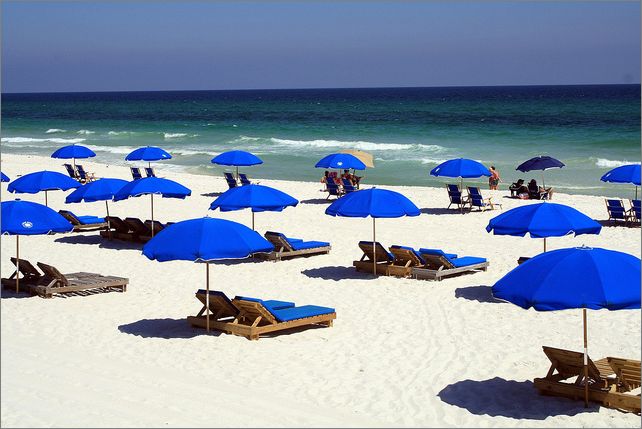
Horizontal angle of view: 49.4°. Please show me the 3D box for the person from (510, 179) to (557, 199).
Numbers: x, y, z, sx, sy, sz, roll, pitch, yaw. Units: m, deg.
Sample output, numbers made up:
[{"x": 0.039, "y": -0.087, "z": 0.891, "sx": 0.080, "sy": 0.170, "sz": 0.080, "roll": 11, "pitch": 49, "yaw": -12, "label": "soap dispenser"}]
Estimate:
[{"x": 7.727, "y": -0.893, "z": 25.832, "sx": 0.979, "sy": 0.468, "sz": 1.225, "roll": 2, "pitch": 4, "yaw": -5, "label": "person"}]

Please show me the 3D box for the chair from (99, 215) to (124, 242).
[{"x": -5.824, "y": 0.415, "z": 19.707, "sx": 0.779, "sy": 0.553, "sz": 0.714, "roll": 2, "pitch": 4, "yaw": 24, "label": "chair"}]

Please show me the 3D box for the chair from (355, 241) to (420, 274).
[{"x": 1.612, "y": 1.103, "z": 16.350, "sx": 1.049, "sy": 0.371, "sz": 0.982, "roll": 3, "pitch": 5, "yaw": 40, "label": "chair"}]

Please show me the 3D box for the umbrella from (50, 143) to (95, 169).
[{"x": -9.855, "y": -2.306, "z": 27.793, "sx": 1.182, "sy": 0.631, "sz": 1.064, "roll": 0, "pitch": 1, "yaw": -13, "label": "umbrella"}]

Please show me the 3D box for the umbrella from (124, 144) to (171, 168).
[{"x": -6.399, "y": -2.215, "z": 26.018, "sx": 1.264, "sy": 0.669, "sz": 1.127, "roll": 1, "pitch": 4, "yaw": 4, "label": "umbrella"}]

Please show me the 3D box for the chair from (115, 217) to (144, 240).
[{"x": -5.241, "y": 0.404, "z": 19.337, "sx": 0.959, "sy": 0.564, "sz": 0.305, "roll": 3, "pitch": 25, "yaw": 30, "label": "chair"}]

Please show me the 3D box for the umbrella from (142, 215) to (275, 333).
[{"x": -2.134, "y": 1.063, "z": 13.469, "sx": 2.611, "sy": 1.730, "sz": 2.281, "roll": 1, "pitch": 3, "yaw": 9, "label": "umbrella"}]

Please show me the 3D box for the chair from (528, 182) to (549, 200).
[{"x": 7.885, "y": -0.827, "z": 25.558, "sx": 0.583, "sy": 0.697, "sz": 0.778, "roll": 6, "pitch": 9, "yaw": 43, "label": "chair"}]

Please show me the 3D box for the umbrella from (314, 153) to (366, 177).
[{"x": 0.705, "y": -1.874, "z": 24.851, "sx": 1.632, "sy": 0.539, "sz": 1.175, "roll": -2, "pitch": 8, "yaw": -1, "label": "umbrella"}]

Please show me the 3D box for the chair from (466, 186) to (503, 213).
[{"x": 5.475, "y": -0.529, "z": 23.687, "sx": 1.285, "sy": 0.729, "sz": 0.771, "roll": -3, "pitch": 6, "yaw": -38, "label": "chair"}]

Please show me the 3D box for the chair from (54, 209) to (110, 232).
[{"x": -6.940, "y": 0.211, "z": 20.279, "sx": 1.311, "sy": 0.468, "sz": 0.691, "roll": -5, "pitch": 11, "yaw": -37, "label": "chair"}]

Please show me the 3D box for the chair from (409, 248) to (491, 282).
[{"x": 2.955, "y": 1.135, "z": 16.251, "sx": 1.586, "sy": 0.556, "sz": 0.824, "roll": -9, "pitch": 11, "yaw": -36, "label": "chair"}]

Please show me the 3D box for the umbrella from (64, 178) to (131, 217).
[{"x": -5.894, "y": -0.472, "z": 18.870, "sx": 1.143, "sy": 0.564, "sz": 0.982, "roll": -6, "pitch": 4, "yaw": 9, "label": "umbrella"}]

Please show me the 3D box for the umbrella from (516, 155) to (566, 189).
[{"x": 7.539, "y": -1.726, "z": 24.121, "sx": 1.084, "sy": 0.615, "sz": 0.969, "roll": -6, "pitch": 3, "yaw": -8, "label": "umbrella"}]

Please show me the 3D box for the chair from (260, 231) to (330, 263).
[{"x": -0.649, "y": 0.784, "z": 17.947, "sx": 1.518, "sy": 0.531, "sz": 0.806, "roll": -5, "pitch": 9, "yaw": -36, "label": "chair"}]

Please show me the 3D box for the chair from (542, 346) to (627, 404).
[{"x": 4.030, "y": 2.462, "z": 10.846, "sx": 0.698, "sy": 0.443, "sz": 1.214, "roll": 2, "pitch": 3, "yaw": 41, "label": "chair"}]

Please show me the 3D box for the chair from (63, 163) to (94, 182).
[{"x": -10.370, "y": -1.769, "z": 29.931, "sx": 1.960, "sy": 0.759, "sz": 0.765, "roll": 12, "pitch": 10, "yaw": 37, "label": "chair"}]

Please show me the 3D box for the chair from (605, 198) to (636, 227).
[{"x": 9.267, "y": -0.063, "z": 21.589, "sx": 0.672, "sy": 0.683, "sz": 1.124, "roll": 1, "pitch": 0, "yaw": 35, "label": "chair"}]

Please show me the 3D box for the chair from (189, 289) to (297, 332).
[{"x": -1.532, "y": 1.748, "z": 13.440, "sx": 0.872, "sy": 0.542, "sz": 1.626, "roll": 1, "pitch": 1, "yaw": 45, "label": "chair"}]

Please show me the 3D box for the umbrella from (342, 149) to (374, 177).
[{"x": 1.492, "y": -2.121, "z": 28.088, "sx": 1.262, "sy": 0.689, "sz": 1.123, "roll": 4, "pitch": 17, "yaw": -3, "label": "umbrella"}]

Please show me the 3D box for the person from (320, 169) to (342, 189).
[{"x": 0.375, "y": -1.363, "z": 27.330, "sx": 0.929, "sy": 0.814, "sz": 0.787, "roll": 1, "pitch": 4, "yaw": 11, "label": "person"}]

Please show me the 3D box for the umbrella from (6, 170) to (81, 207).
[{"x": -7.745, "y": -0.887, "z": 19.595, "sx": 1.151, "sy": 0.642, "sz": 1.093, "roll": 2, "pitch": 2, "yaw": 35, "label": "umbrella"}]
